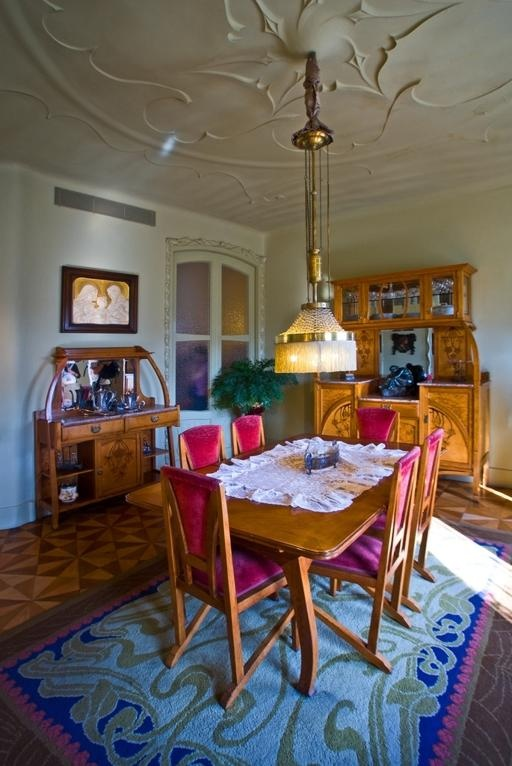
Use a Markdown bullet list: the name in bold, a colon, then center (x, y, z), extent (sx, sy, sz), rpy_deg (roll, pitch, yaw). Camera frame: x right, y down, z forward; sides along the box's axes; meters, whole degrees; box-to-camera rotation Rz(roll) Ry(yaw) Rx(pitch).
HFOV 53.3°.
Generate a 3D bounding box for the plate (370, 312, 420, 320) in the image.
- **plate**: center (1.285, -0.626, 4.795), extent (0.401, 0.081, 0.103), rpy_deg (0, 1, 29)

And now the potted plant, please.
- **potted plant**: center (-0.078, 0.035, 5.521), extent (0.725, 0.634, 0.684), rpy_deg (0, -3, -28)

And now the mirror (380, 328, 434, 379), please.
- **mirror**: center (1.473, -0.302, 4.947), extent (0.060, 0.551, 0.474), rpy_deg (3, -2, -45)

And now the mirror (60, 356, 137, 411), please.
- **mirror**: center (-1.363, 0.007, 4.327), extent (0.150, 0.410, 0.433), rpy_deg (-6, -6, 33)

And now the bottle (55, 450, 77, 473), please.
- **bottle**: center (-1.489, 0.614, 4.022), extent (0.151, 0.114, 0.146), rpy_deg (2, -3, 0)

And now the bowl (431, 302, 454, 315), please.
- **bowl**: center (1.616, -0.649, 4.439), extent (0.111, 0.069, 0.109), rpy_deg (-1, 6, 0)

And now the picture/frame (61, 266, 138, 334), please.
- **picture/frame**: center (-1.377, -0.724, 4.398), extent (0.048, 0.548, 0.653), rpy_deg (1, 2, 35)

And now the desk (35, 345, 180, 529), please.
- **desk**: center (-1.214, 0.424, 3.979), extent (0.467, 1.647, 1.347), rpy_deg (-1, 2, 30)

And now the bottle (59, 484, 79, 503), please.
- **bottle**: center (-1.421, 0.831, 3.882), extent (0.123, 0.124, 0.123), rpy_deg (-1, 4, -29)

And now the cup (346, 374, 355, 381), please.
- **cup**: center (0.956, -0.060, 5.210), extent (0.084, 0.063, 0.085), rpy_deg (0, 0, 0)
